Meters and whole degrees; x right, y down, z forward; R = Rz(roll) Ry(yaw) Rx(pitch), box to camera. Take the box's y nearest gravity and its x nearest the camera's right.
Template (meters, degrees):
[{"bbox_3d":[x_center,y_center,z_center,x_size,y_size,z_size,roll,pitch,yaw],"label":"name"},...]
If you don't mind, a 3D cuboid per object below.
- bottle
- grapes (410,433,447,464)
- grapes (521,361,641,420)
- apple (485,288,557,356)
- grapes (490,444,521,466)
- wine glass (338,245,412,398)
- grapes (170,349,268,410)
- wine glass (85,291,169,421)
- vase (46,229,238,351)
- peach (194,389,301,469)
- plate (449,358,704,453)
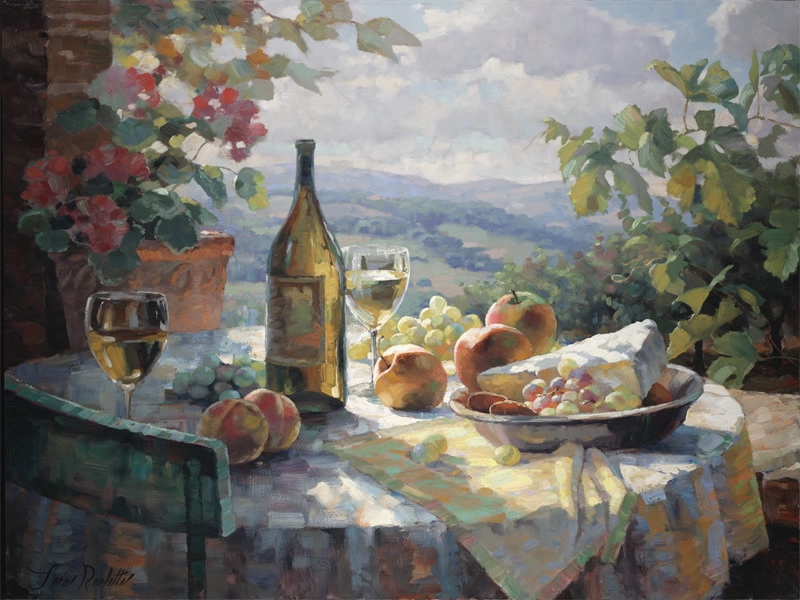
[{"bbox_3d":[-0.176,-0.037,1.343,0.130,0.490,0.129,0,1,0],"label":"bottle"},{"bbox_3d":[0.046,0.227,1.124,0.030,0.025,0.053,7,9,17],"label":"grapes"},{"bbox_3d":[0.276,0.123,1.178,0.168,0.094,0.134,-3,6,-36],"label":"grapes"},{"bbox_3d":[0.242,0.037,1.382,0.130,0.150,0.119,-14,13,2],"label":"apple"},{"bbox_3d":[0.163,0.238,1.111,0.031,0.030,0.012,1,-31,8],"label":"grapes"},{"bbox_3d":[-0.039,0.044,1.396,0.120,0.285,0.135,1,2,5],"label":"wine glass"},{"bbox_3d":[-0.326,0.144,1.301,0.126,0.062,0.101,-16,8,-8],"label":"grapes"},{"bbox_3d":[-0.423,0.070,1.177,0.106,0.214,0.101,6,10,23],"label":"wine glass"},{"bbox_3d":[-0.525,-0.002,1.626,0.308,0.190,0.313,-11,-6,27],"label":"vase"},{"bbox_3d":[-0.219,0.192,1.121,0.088,0.080,0.149,-34,-14,21],"label":"peach"},{"bbox_3d":[0.298,0.175,1.218,0.425,0.084,0.409,8,-13,-4],"label":"plate"}]
